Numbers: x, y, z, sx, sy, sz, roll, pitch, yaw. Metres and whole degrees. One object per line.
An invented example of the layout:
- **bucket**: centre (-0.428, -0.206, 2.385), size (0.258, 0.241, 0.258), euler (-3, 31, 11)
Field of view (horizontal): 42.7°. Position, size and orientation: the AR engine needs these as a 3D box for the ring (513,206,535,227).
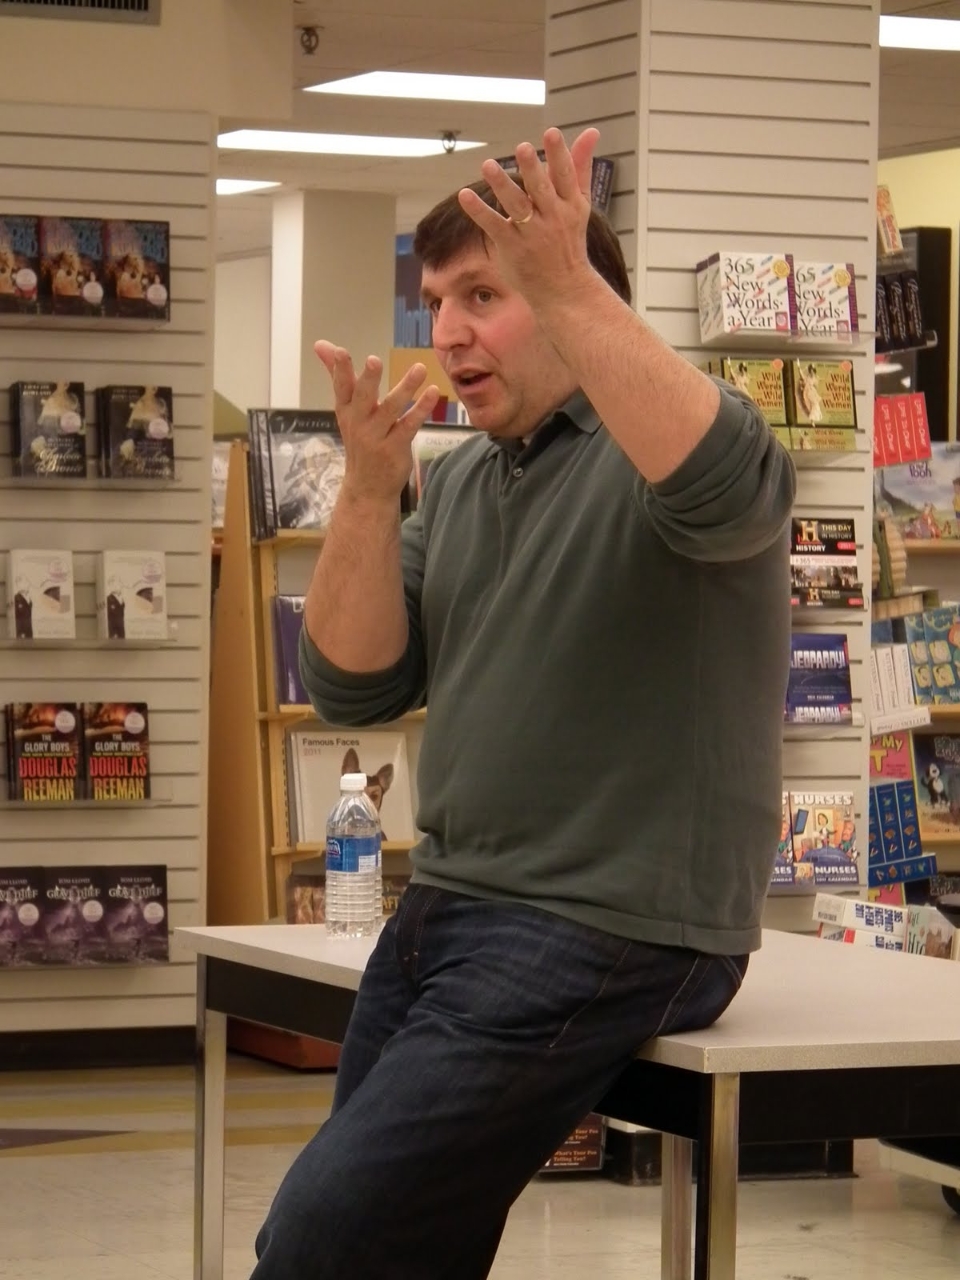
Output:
- **ring**: centre (0.030, -0.296, 0.861), size (0.010, 0.005, 0.014), euler (-7, -7, -2)
